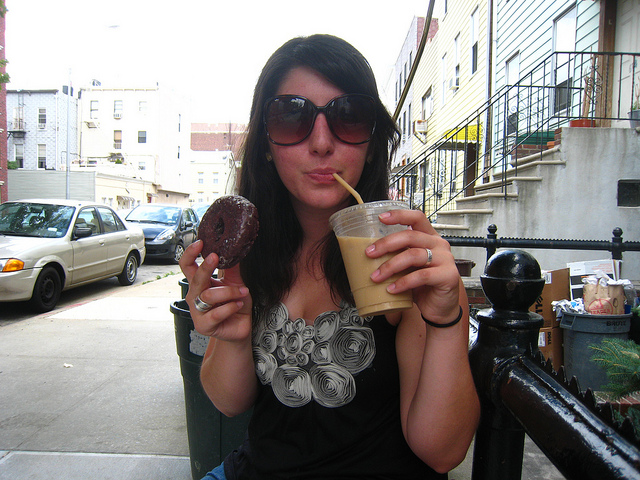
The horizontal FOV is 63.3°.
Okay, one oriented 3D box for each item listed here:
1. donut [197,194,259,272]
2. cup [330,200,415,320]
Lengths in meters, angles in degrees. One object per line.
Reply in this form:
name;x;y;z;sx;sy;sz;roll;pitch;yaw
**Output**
donut;-0.460;-0.014;2.585;0.291;0.403;0.202;-3;11;-16
cup;0.254;0.084;2.461;0.402;0.530;0.203;1;10;1
